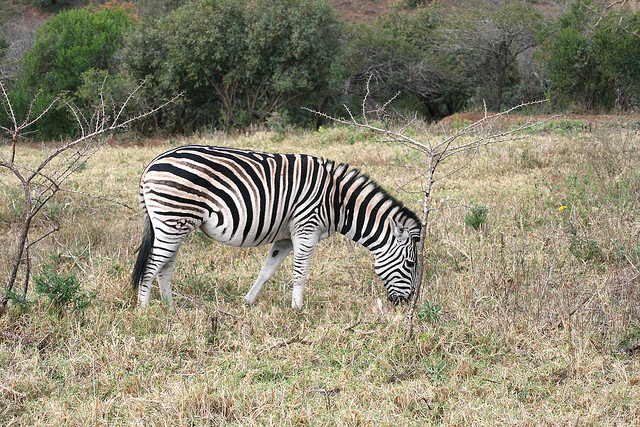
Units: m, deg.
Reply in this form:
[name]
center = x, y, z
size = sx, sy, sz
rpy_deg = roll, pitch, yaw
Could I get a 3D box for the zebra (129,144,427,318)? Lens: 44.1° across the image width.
[zebra]
center = -0.784, 0.442, 15.880
size = 5.772, 3.355, 1.703
rpy_deg = 4, 9, -9
